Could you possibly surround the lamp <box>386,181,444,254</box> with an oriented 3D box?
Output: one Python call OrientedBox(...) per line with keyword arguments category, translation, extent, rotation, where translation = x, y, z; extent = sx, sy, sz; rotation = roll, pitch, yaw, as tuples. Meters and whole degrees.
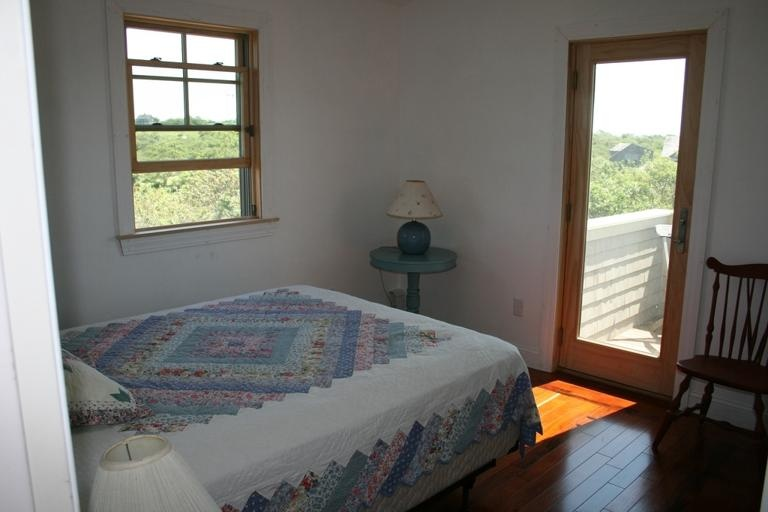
OrientedBox(category="lamp", translation=(0.223, -0.295, 4.099), extent=(0.344, 0.588, 0.298), rotation=(-9, 16, -27))
